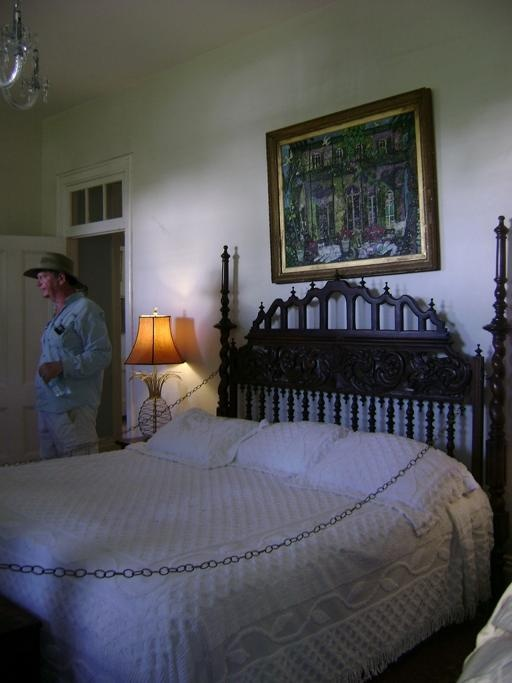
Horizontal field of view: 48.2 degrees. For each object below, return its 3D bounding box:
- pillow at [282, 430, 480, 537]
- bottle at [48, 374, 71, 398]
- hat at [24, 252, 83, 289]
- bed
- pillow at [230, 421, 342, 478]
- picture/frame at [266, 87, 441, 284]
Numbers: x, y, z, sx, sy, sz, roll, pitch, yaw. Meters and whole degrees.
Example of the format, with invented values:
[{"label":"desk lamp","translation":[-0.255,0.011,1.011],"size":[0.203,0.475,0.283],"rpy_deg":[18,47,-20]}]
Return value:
[{"label":"pillow","translation":[0.484,0.483,2.142],"size":[0.371,0.113,0.363],"rpy_deg":[13,23,38]},{"label":"bottle","translation":[-1.010,0.226,2.915],"size":[0.096,0.098,0.034],"rpy_deg":[-35,5,-10]},{"label":"hat","translation":[-1.090,-0.414,3.215],"size":[0.283,0.147,0.350],"rpy_deg":[0,-13,38]},{"label":"bed","translation":[0.053,0.180,2.450],"size":[1.633,1.280,1.506],"rpy_deg":[1,2,38]},{"label":"pillow","translation":[0.137,0.454,2.504],"size":[0.275,0.084,0.273],"rpy_deg":[1,21,46]},{"label":"picture/frame","translation":[0.527,-0.789,2.917],"size":[1.084,0.982,0.086],"rpy_deg":[0,3,45]}]
